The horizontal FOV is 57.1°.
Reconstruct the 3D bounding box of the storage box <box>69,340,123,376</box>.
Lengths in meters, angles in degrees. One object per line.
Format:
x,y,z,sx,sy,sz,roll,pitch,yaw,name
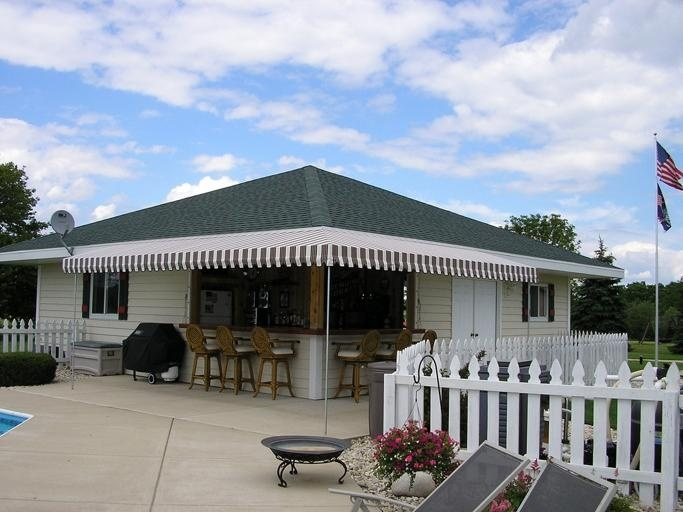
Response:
-6.996,2.938,18.089,1.492,0.819,0.843,-2,-5,35,storage box

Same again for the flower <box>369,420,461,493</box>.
1.013,2.685,8.749,1.118,0.922,1.265,-7,-7,-32,flower

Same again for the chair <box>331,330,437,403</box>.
0.697,2.141,12.146,0.536,0.907,1.930,0,-1,36,chair
